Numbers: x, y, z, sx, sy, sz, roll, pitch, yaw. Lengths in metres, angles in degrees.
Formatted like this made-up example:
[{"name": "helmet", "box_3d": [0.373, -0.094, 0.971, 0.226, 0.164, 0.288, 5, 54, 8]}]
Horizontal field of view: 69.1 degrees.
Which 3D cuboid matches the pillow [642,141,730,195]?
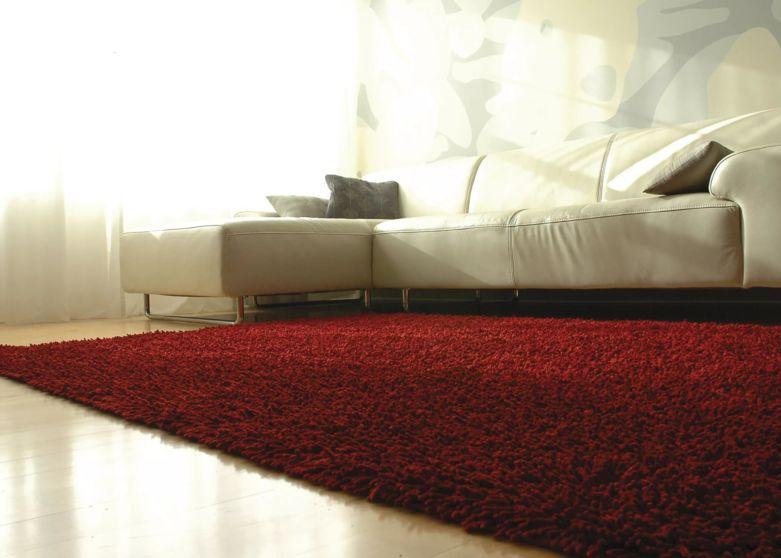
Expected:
[{"name": "pillow", "box_3d": [1.108, -0.413, 2.126, 0.284, 0.187, 0.100, 0, 8, 28]}]
